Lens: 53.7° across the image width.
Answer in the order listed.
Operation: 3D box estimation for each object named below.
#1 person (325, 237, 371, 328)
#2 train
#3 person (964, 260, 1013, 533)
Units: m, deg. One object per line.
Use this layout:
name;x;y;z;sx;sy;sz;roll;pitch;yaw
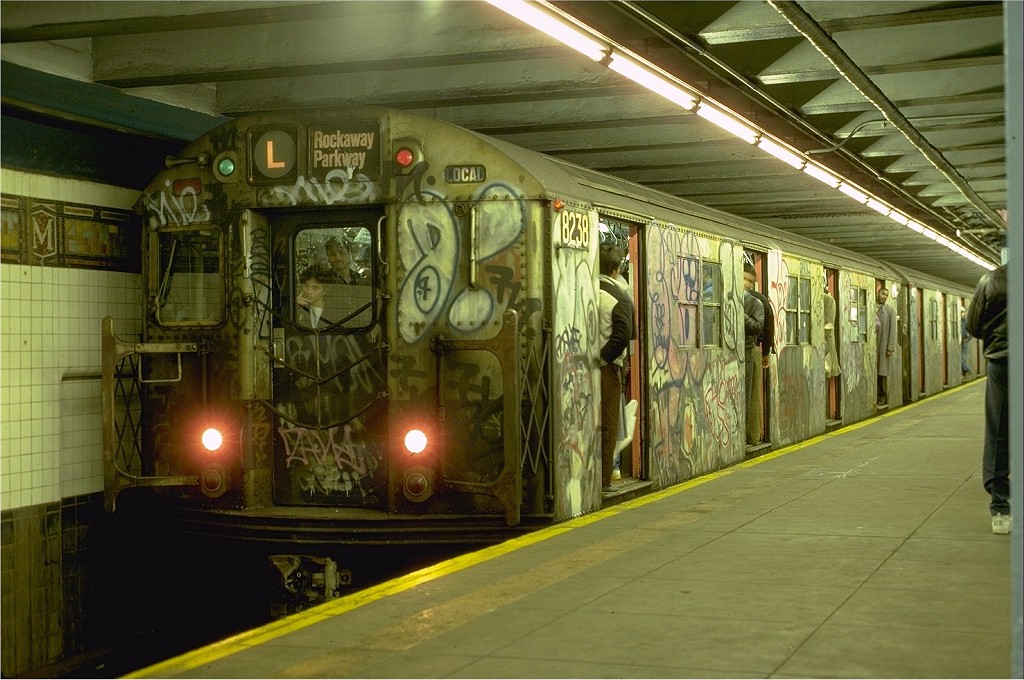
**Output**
person;-1.518;-0.535;9.317;0.524;0.750;0.230;3;1;9
train;1.783;0.147;13.815;2.913;2.762;13.241;-2;-3;33
person;4.048;0.544;8.576;0.330;2.293;0.651;0;5;17
